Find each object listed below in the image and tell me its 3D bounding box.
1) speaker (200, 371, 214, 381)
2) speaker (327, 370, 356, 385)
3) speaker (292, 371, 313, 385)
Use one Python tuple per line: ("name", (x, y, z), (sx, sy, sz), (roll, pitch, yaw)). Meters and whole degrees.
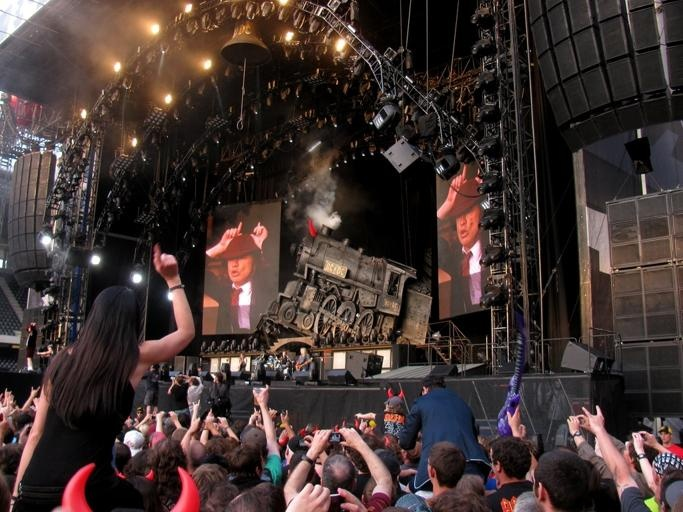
("speaker", (-4.311, 3.831, 17.979), (0.309, 0.345, 0.329), (2, -5, -18))
("speaker", (0.042, 3.134, 14.590), (0.587, 0.311, 0.439), (-12, -13, 44))
("speaker", (-1.087, 3.376, 15.689), (0.537, 0.402, 0.309), (1, -9, 2))
